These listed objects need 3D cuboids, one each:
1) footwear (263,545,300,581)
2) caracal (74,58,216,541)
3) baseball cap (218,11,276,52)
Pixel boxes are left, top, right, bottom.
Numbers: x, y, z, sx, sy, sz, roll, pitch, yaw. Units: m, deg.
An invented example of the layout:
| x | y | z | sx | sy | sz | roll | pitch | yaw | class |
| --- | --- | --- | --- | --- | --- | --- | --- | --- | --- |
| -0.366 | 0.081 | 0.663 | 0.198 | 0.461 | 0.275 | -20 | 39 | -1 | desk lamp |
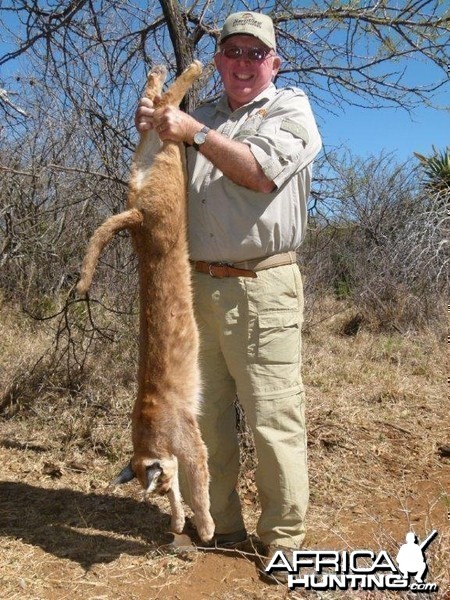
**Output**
| x | y | z | sx | sy | sz | roll | pitch | yaw | class |
| --- | --- | --- | --- | --- | --- | --- | --- | --- | --- |
| 0.288 | 1.415 | 2.919 | 0.193 | 0.173 | 0.138 | 4 | 11 | 7 | footwear |
| -0.305 | 0.199 | 2.414 | 0.579 | 1.866 | 0.509 | 3 | 11 | -1 | caracal |
| 0.116 | -1.459 | 2.959 | 0.323 | 0.186 | 0.391 | 1 | 19 | -8 | baseball cap |
